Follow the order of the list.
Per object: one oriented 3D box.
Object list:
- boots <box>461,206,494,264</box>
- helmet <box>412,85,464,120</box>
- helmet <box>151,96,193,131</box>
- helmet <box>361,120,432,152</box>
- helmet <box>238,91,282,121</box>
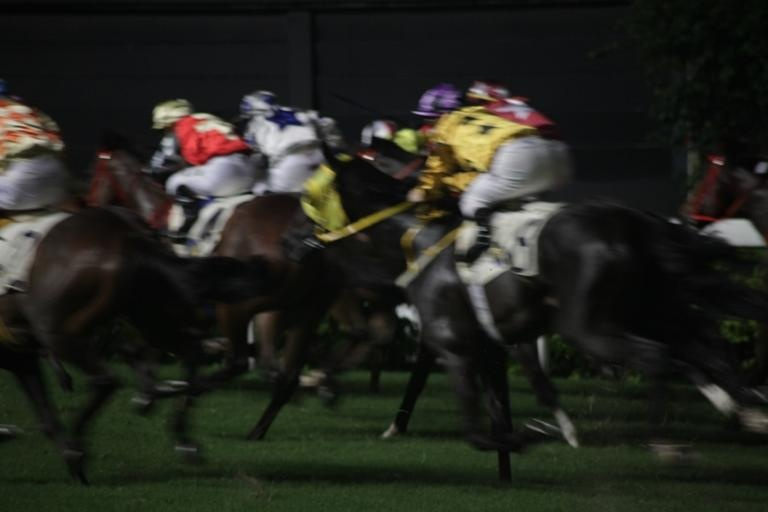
[{"bbox_3d":[0.545,-0.117,5.340,0.162,0.318,0.145,3,18,3],"label":"boots"},{"bbox_3d":[0.335,-0.973,5.711,0.278,0.074,0.284,-31,20,-31],"label":"helmet"},{"bbox_3d":[-1.676,-1.131,7.084,0.385,0.087,0.194,-14,55,-8],"label":"helmet"},{"bbox_3d":[0.037,-0.878,6.609,0.557,0.147,0.278,7,12,26],"label":"helmet"},{"bbox_3d":[-0.909,-1.108,6.633,0.363,0.153,0.175,2,24,7],"label":"helmet"}]
